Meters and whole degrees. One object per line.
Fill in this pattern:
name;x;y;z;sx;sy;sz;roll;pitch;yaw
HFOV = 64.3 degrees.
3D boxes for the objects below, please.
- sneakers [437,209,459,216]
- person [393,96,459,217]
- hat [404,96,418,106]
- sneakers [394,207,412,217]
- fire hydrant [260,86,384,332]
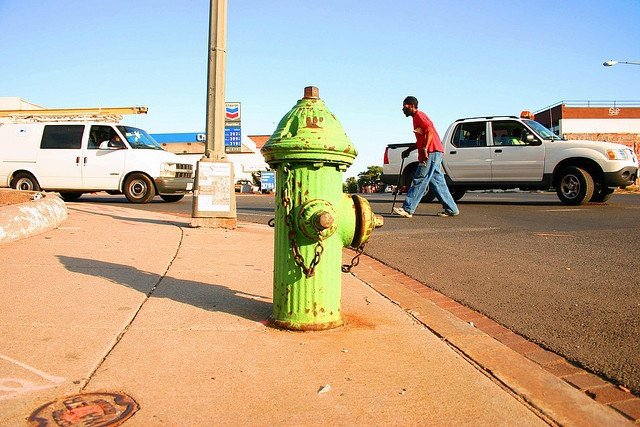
sneakers;2.647;-0.023;10.511;0.384;0.181;0.155;-4;12;15
person;2.048;-1.032;9.928;0.711;2.366;1.264;11;13;42
hat;1.717;-2.100;9.581;0.228;0.169;0.300;3;10;4
sneakers;1.658;0.005;10.023;0.372;0.164;0.166;18;4;-25
fire hydrant;-0.039;-0.036;4.041;0.829;1.854;0.468;1;10;-7
